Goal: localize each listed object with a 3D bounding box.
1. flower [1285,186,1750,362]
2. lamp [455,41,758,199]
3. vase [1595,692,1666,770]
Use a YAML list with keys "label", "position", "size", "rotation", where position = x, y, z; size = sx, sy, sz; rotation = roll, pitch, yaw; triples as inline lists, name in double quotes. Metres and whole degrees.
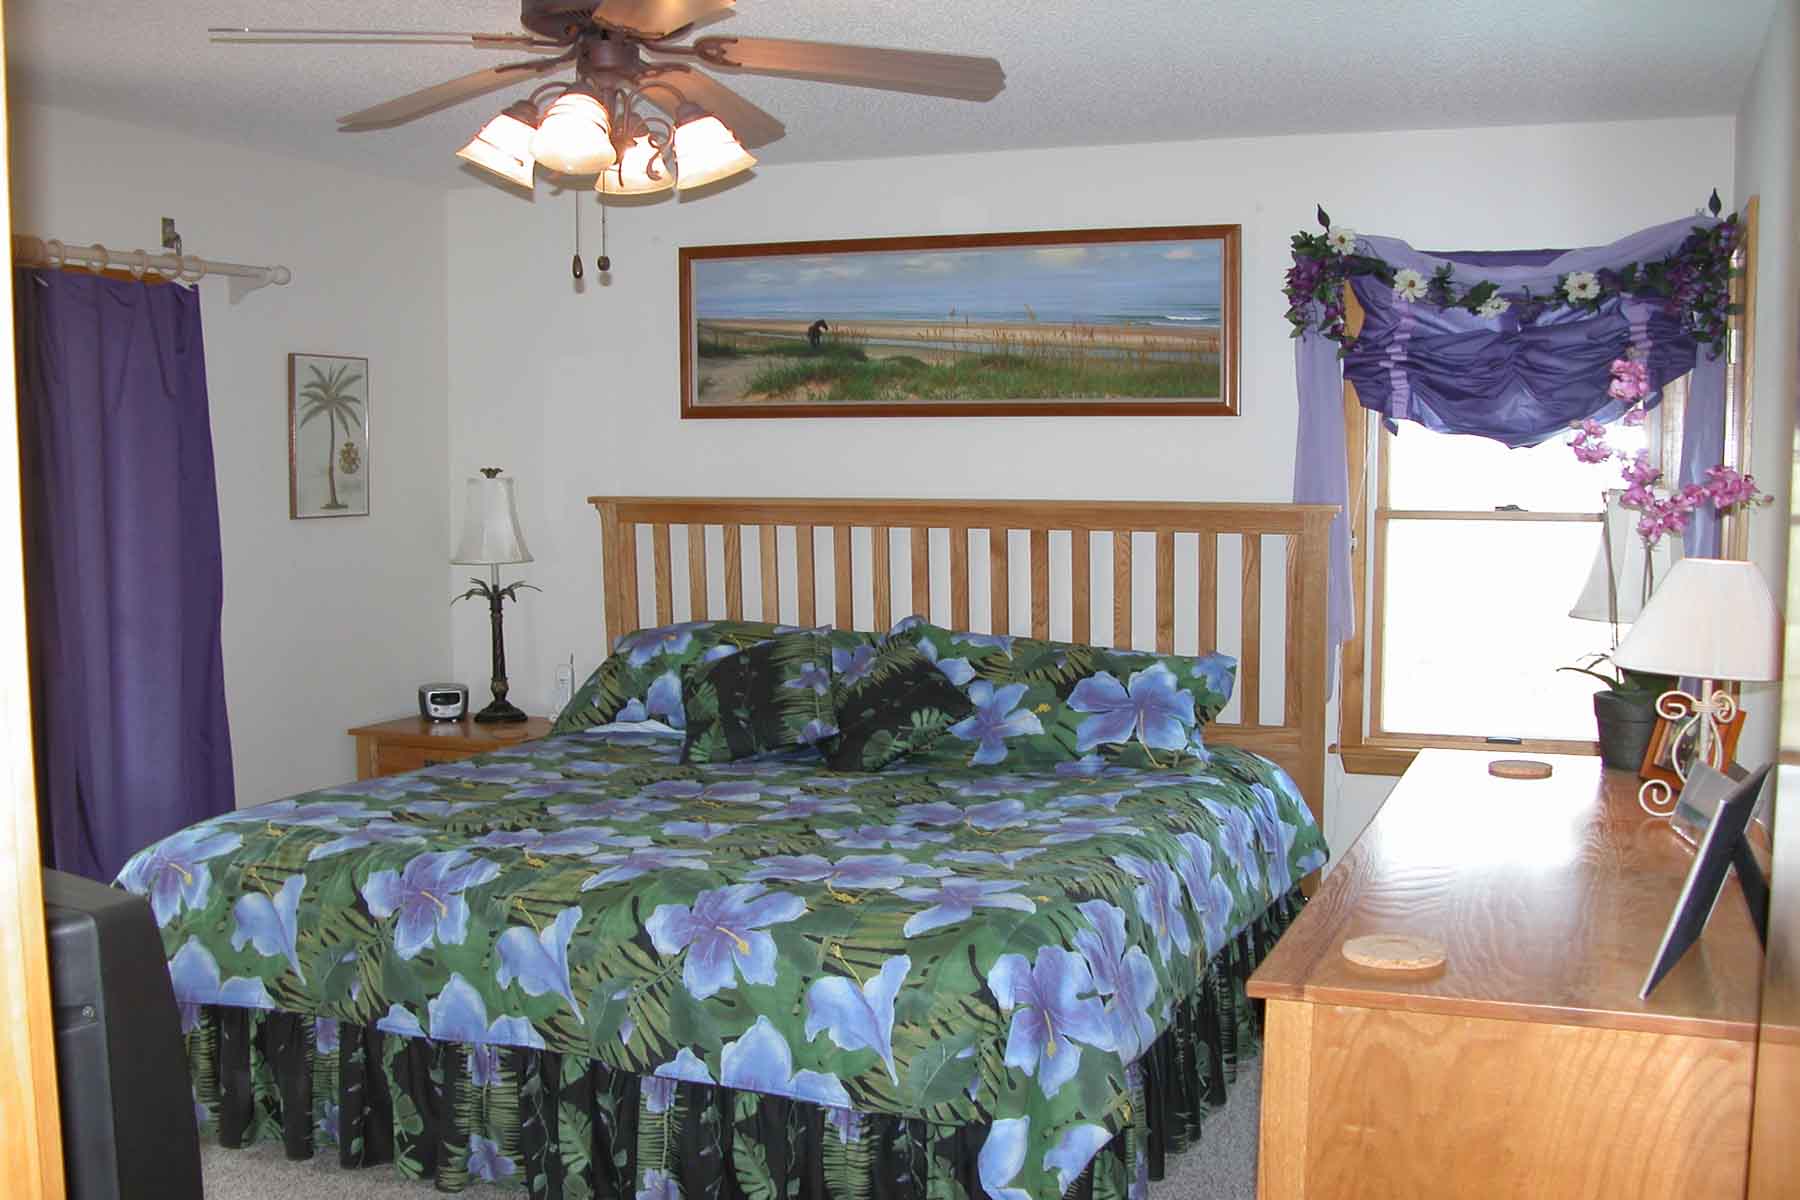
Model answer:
- label: "flower"
  position: [1.868, -1.147, 4.914]
  size: [1.194, 0.481, 1.177]
  rotation: [-6, 3, -4]
- label: "lamp"
  position: [-0.628, -1.067, 3.154]
  size: [0.669, 0.258, 0.580]
  rotation: [1, 6, 4]
- label: "vase"
  position: [1.843, 0.341, 3.718]
  size: [0.176, 0.183, 0.179]
  rotation: [0, -1, 5]
